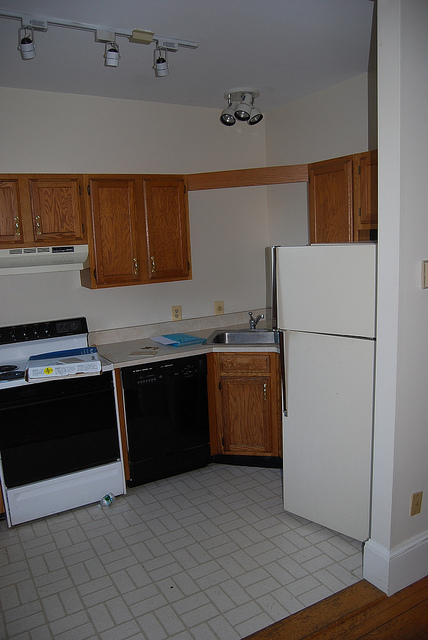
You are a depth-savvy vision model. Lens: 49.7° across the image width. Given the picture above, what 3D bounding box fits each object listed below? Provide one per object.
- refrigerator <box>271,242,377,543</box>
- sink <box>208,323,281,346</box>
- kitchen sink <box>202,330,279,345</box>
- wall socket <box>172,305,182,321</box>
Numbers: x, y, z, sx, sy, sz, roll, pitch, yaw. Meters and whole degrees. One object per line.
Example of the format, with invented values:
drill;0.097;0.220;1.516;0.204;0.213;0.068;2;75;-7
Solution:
refrigerator;0.692;0.324;2.425;0.568;1.347;0.524;-9;10;-37
sink;0.227;0.110;3.502;0.476;0.141;0.939;-2;5;5
kitchen sink;0.200;0.151;3.334;0.488;0.094;0.518;-2;6;10
wall socket;-0.303;-0.049;3.675;0.106;0.154;0.016;-6;14;-34
